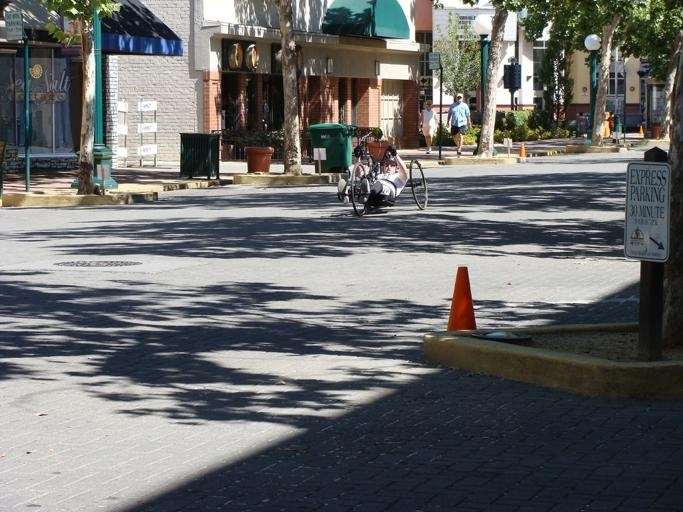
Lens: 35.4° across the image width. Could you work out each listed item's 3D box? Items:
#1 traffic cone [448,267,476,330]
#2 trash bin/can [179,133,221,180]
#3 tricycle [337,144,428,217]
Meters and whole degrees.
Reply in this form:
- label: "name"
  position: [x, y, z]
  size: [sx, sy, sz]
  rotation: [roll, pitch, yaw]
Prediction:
- label: "traffic cone"
  position: [1.096, 0.383, 9.860]
  size: [0.246, 0.585, 0.268]
  rotation: [2, 6, 22]
- label: "trash bin/can"
  position: [-3.871, -2.704, 29.253]
  size: [0.917, 1.381, 0.885]
  rotation: [-8, 18, -32]
- label: "tricycle"
  position: [0.835, -1.386, 20.429]
  size: [1.076, 1.210, 1.967]
  rotation: [1, 0, 25]
